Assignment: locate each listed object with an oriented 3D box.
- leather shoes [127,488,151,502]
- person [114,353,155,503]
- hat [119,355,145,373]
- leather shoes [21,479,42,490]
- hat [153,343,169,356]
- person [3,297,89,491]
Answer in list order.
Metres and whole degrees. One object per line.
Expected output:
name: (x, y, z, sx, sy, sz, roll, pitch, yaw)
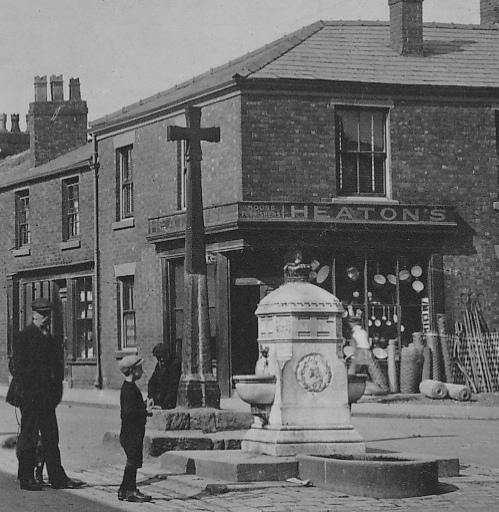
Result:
leather shoes: (-1.262, 2.836, 17.794, 0.325, 0.179, 0.117, -3, -2, 20)
person: (-1.387, 2.074, 18.194, 0.384, 1.801, 0.716, 0, -7, -5)
hat: (-1.435, 1.290, 18.378, 0.230, 0.090, 0.182, -27, 22, -25)
leather shoes: (-2.655, 2.803, 18.475, 0.283, 0.143, 0.111, -3, -2, 33)
hat: (-1.342, 1.431, 22.944, 0.237, 0.202, 0.362, -1, -8, -3)
person: (-2.602, 1.702, 18.790, 0.749, 2.410, 0.419, 1, -7, -12)
